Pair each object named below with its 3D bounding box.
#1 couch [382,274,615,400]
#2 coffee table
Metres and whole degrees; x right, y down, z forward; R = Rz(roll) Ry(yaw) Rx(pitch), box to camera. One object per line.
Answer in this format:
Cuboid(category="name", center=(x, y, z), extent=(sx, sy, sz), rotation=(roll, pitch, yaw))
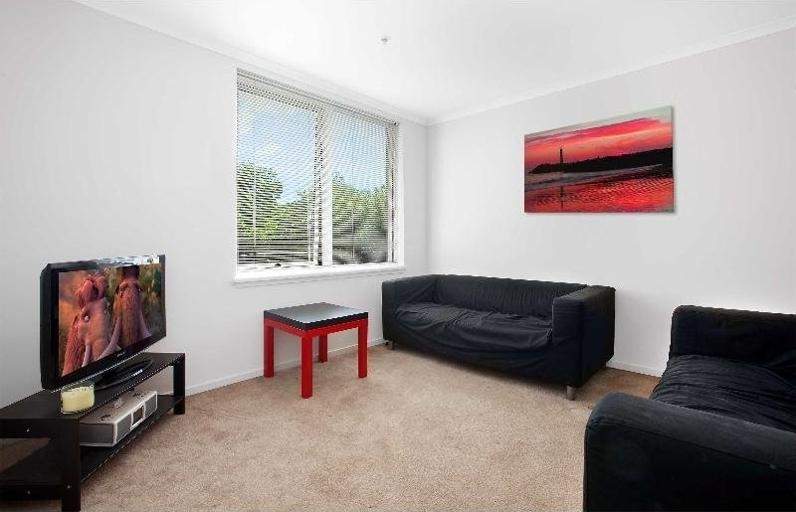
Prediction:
Cuboid(category="couch", center=(1.030, 0.727, 5.256), extent=(2.123, 0.934, 0.967), rotation=(1, 4, 32))
Cuboid(category="coffee table", center=(-0.811, 0.868, 4.920), extent=(0.816, 0.736, 0.758), rotation=(-4, 4, -40))
